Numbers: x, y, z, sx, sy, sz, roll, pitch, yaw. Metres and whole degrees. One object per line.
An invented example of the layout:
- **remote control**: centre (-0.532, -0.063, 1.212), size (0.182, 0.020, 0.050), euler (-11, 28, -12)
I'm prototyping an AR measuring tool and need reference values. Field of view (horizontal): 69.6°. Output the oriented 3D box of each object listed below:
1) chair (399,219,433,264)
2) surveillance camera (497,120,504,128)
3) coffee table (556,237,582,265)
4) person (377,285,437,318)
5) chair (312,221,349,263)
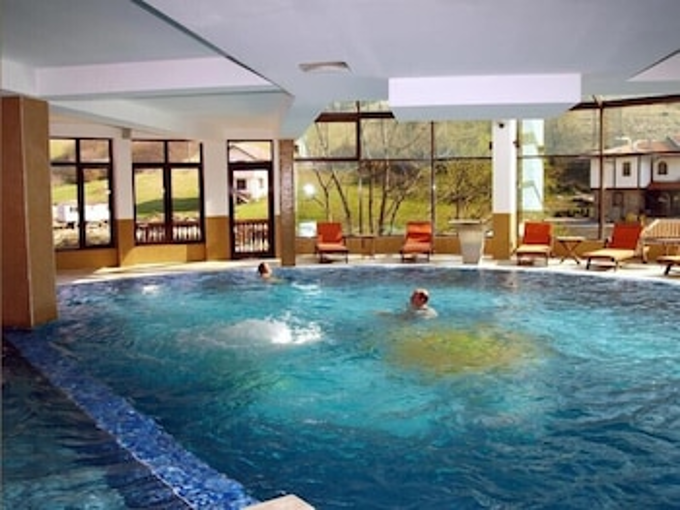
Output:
- **chair**: centre (2.409, -0.423, 15.450), size (0.946, 1.158, 1.821), euler (1, 10, 10)
- **surveillance camera**: centre (4.917, -4.038, 15.054), size (0.131, 0.185, 0.197), euler (1, -3, 2)
- **coffee table**: centre (7.160, -0.154, 14.978), size (1.054, 0.829, 0.974), euler (0, -1, 15)
- **person**: centre (1.355, 0.888, 9.531), size (1.106, 0.408, 0.986), euler (2, 10, 16)
- **chair**: centre (-0.316, -0.433, 15.243), size (0.930, 0.895, 1.524), euler (1, 15, -7)
